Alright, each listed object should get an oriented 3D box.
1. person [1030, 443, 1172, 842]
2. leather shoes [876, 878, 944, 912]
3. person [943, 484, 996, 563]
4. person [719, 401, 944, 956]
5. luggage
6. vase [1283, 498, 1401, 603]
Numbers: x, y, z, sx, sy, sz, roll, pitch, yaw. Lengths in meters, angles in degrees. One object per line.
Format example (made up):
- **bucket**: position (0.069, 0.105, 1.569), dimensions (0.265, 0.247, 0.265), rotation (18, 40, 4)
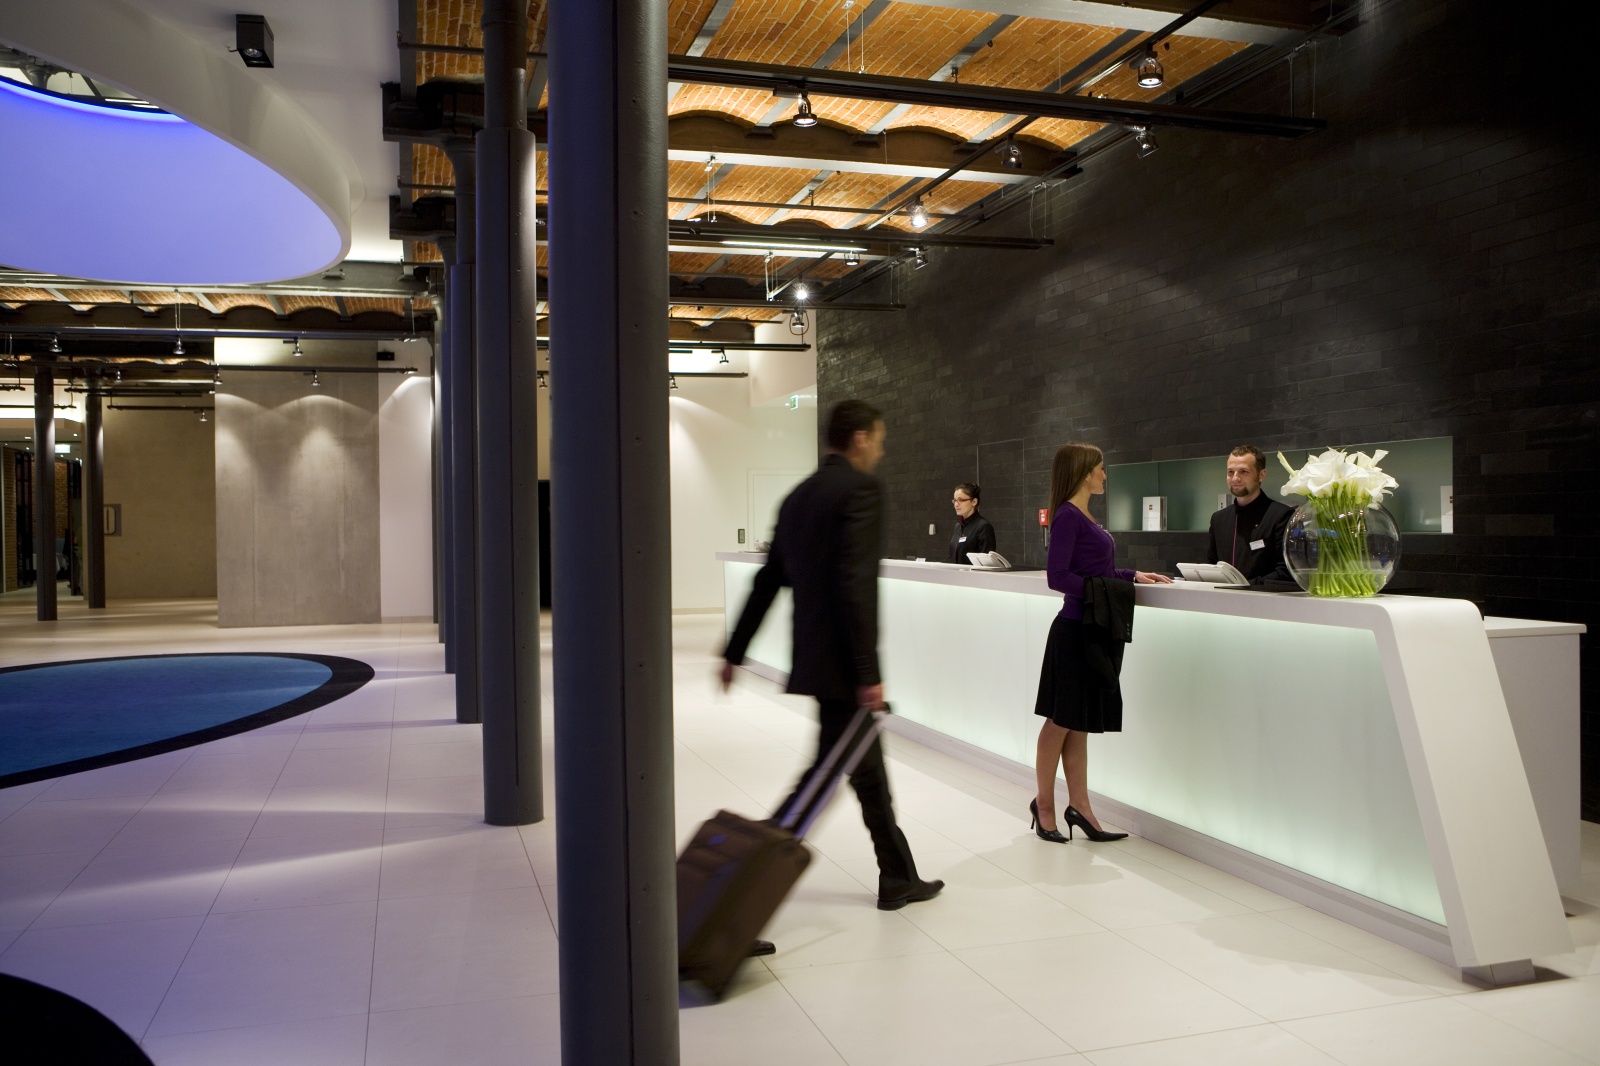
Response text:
- **person**: position (1.736, 0.698, 6.192), dimensions (0.592, 2.443, 0.535), rotation (3, 5, 19)
- **leather shoes**: position (0.576, 1.941, 5.579), dimensions (0.391, 0.170, 0.129), rotation (-2, 0, -24)
- **person**: position (1.782, -0.101, 10.569), dimensions (0.379, 0.803, 0.752), rotation (3, 5, 9)
- **person**: position (0.178, 0.639, 5.444), dimensions (1.173, 2.683, 0.539), rotation (1, 5, -4)
- **luggage**: position (-0.351, 1.745, 4.913), dimensions (0.635, 0.704, 0.444), rotation (-2, 6, -36)
- **vase**: position (2.853, 0.116, 5.394), dimensions (0.491, 0.487, 0.496), rotation (-7, -9, 40)
